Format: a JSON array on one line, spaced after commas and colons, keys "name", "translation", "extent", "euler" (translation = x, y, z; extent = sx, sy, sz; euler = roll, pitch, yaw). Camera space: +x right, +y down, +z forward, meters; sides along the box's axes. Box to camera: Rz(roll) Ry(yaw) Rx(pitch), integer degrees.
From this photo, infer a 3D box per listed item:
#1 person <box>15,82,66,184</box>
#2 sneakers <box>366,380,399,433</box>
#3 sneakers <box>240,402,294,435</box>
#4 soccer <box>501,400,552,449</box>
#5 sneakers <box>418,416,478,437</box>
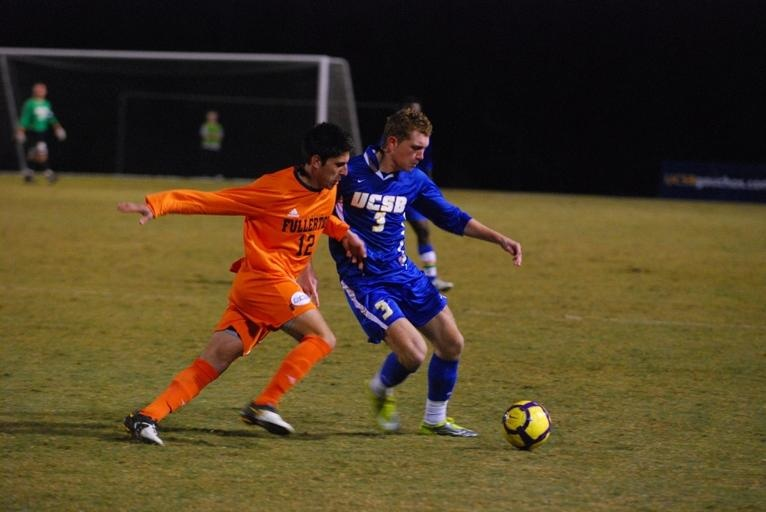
[{"name": "person", "translation": [-3.538, -1.252, 9.805], "extent": [0.472, 1.005, 0.319], "euler": [-2, 13, -19]}, {"name": "sneakers", "translation": [-0.003, 1.374, 8.671], "extent": [0.217, 0.523, 0.250], "euler": [-18, 0, -11]}, {"name": "sneakers", "translation": [-1.045, 1.397, 8.190], "extent": [0.518, 0.222, 0.189], "euler": [24, -29, -35]}, {"name": "soccer", "translation": [1.249, 1.511, 8.515], "extent": [0.450, 0.375, 0.410], "euler": [0, -3, -7]}, {"name": "sneakers", "translation": [0.583, 1.556, 8.629], "extent": [0.545, 0.183, 0.179], "euler": [3, -6, -4]}]
